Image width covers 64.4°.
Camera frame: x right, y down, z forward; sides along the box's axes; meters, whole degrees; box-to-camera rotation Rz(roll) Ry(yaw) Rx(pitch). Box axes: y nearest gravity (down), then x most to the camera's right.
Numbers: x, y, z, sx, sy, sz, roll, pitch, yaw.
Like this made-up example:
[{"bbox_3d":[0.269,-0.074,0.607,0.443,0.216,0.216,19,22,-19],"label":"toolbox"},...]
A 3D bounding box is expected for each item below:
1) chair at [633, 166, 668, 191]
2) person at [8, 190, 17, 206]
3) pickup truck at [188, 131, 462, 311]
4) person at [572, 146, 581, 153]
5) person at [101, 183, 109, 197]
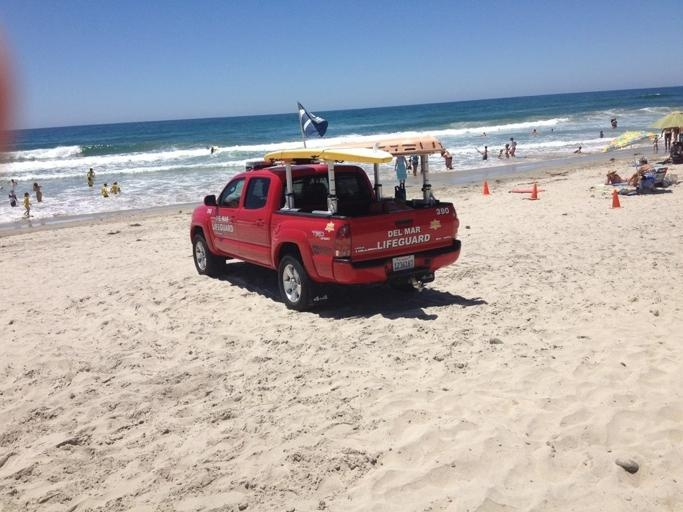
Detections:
[{"bbox_3d":[8.766,-2.176,15.371,1.215,0.415,0.655,-16,24,-19],"label":"chair"},{"bbox_3d":[-15.074,-2.592,24.821,0.238,0.728,0.758,-17,16,-32],"label":"person"},{"bbox_3d":[-0.565,-0.719,9.202,2.509,2.058,5.266,-14,19,-36],"label":"pickup truck"},{"bbox_3d":[16.057,-7.314,37.119,0.512,0.305,2.000,3,14,13],"label":"person"},{"bbox_3d":[-11.981,-3.301,27.415,0.292,0.690,1.327,-13,14,-23],"label":"person"}]
